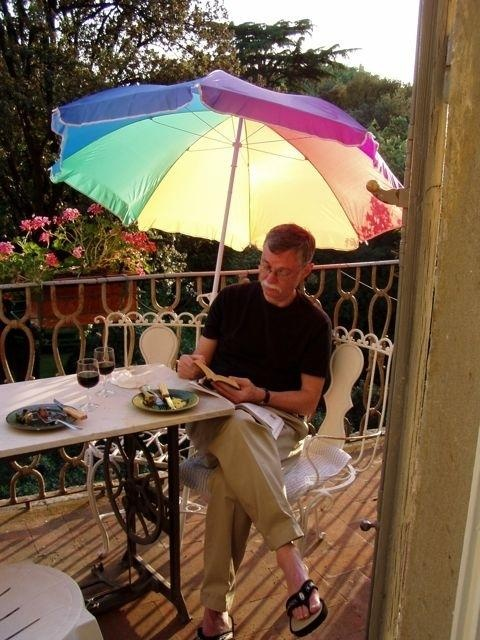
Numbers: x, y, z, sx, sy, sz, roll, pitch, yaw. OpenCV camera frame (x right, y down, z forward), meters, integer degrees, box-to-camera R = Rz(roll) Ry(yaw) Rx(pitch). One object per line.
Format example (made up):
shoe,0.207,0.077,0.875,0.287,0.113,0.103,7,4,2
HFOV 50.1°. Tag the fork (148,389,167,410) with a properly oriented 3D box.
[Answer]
fork,-0.276,0.272,1.740,0.035,0.041,0.102,-5,42,-29

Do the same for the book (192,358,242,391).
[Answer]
book,-0.082,0.218,2.004,0.171,0.117,0.133,-8,16,-43

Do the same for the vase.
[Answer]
vase,-1.229,-0.162,4.166,0.899,0.448,0.598,-11,21,-35

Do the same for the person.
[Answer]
person,0.063,0.366,1.944,0.707,1.538,0.762,8,18,13

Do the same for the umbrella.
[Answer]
umbrella,-0.166,-0.658,2.853,1.761,1.128,1.230,-10,22,-22

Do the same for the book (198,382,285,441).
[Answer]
book,0.011,0.358,1.930,0.352,0.242,0.207,1,8,-3

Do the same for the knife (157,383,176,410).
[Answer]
knife,-0.244,0.261,1.720,0.031,0.015,0.152,-3,25,-12

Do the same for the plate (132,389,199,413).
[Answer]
plate,-0.250,0.274,1.716,0.081,0.035,0.125,-13,11,-32
